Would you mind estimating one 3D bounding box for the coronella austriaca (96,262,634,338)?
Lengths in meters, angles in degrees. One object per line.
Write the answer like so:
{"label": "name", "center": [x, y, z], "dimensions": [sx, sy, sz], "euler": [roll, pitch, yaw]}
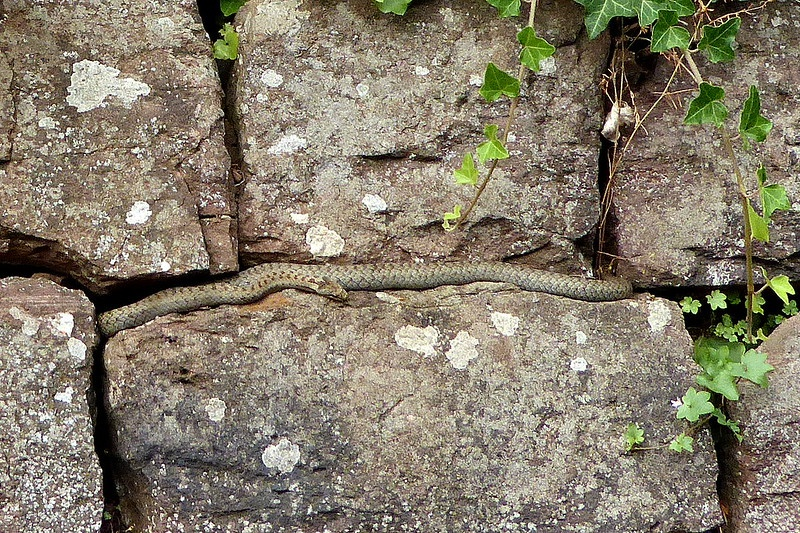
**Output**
{"label": "coronella austriaca", "center": [-0.302, 0.222, 8.190], "dimensions": [3.283, 0.174, 0.462], "euler": [-1, 52, -4]}
